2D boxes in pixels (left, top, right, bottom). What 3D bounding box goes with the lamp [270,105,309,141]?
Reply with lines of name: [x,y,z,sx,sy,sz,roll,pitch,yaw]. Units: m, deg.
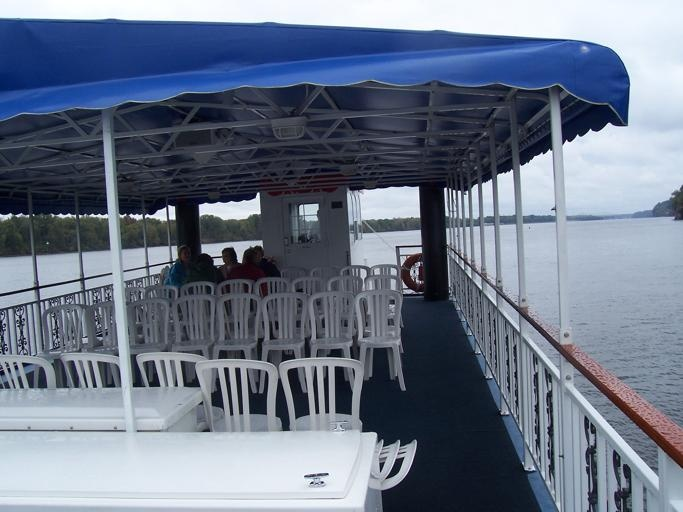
lamp: [-0.434,-1.161,5.297,0.241,0.165,0.322,-2,3,3]

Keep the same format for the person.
person: [-1.661,0.277,8.066,1.075,0.489,0.839,-6,-4,28]
